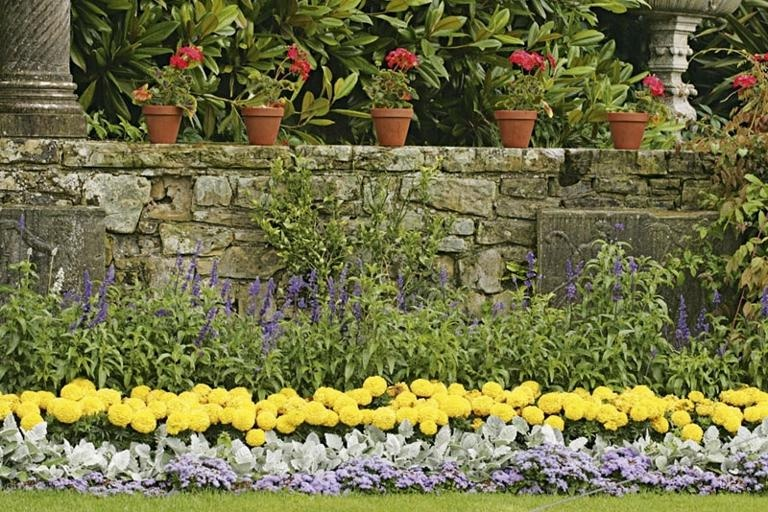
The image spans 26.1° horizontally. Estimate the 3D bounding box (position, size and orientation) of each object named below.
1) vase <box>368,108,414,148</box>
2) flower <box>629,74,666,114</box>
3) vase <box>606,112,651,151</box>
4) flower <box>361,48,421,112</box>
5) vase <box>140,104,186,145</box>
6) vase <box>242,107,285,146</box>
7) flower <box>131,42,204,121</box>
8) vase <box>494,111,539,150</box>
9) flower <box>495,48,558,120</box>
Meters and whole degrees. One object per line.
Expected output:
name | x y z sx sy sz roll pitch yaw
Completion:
vase | 0.034 -0.913 11.670 0.317 0.261 0.321 1 2 26
flower | 1.881 -1.135 11.867 0.211 0.246 0.172 -2 -30 -11
vase | 1.704 -0.887 11.735 0.270 0.222 0.275 1 -2 0
flower | 0.099 -1.248 11.660 0.296 0.431 0.304 0 -8 41
vase | -1.563 -0.932 11.569 0.318 0.262 0.324 -4 9 -37
vase | -0.855 -0.919 11.547 0.270 0.223 0.275 0 -1 -3
flower | -1.508 -1.165 11.546 0.411 0.639 0.484 8 -4 -3
vase | 0.932 -0.919 11.760 0.375 0.282 0.383 5 11 26
flower | 1.004 -1.247 11.720 0.363 0.399 0.352 -8 0 26
